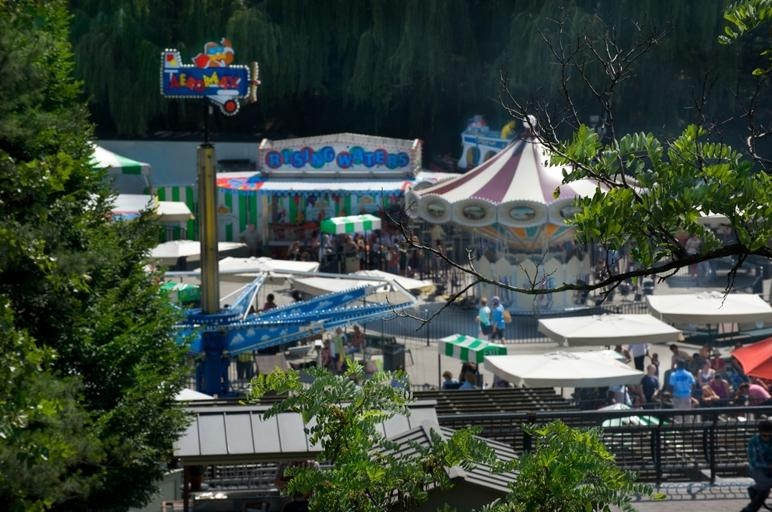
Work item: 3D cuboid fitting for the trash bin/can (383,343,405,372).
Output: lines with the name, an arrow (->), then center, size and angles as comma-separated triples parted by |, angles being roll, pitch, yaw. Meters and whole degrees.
trash bin/can -> 0.162, 2.846, 60.851 | 0.657, 0.791, 0.769 | -5, 12, -6

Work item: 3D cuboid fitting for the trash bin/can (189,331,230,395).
trash bin/can -> -4.888, 2.873, 58.130 | 0.936, 1.825, 0.782 | -4, 11, -1

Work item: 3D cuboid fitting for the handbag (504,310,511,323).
handbag -> 3.551, 1.770, 63.103 | 0.265, 0.338, 0.334 | 0, 12, 1
